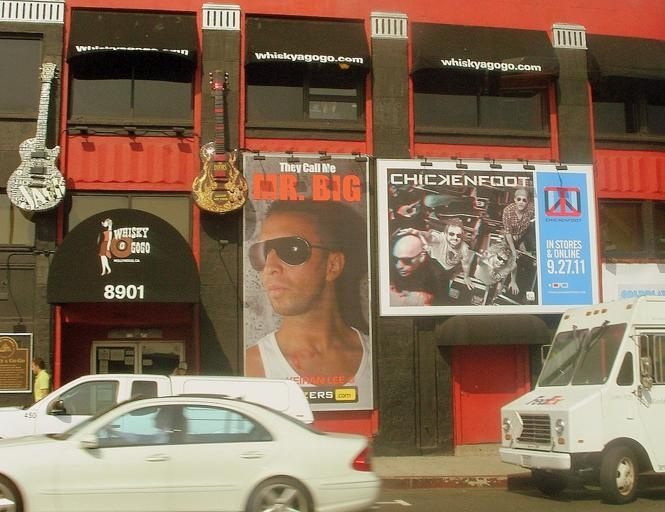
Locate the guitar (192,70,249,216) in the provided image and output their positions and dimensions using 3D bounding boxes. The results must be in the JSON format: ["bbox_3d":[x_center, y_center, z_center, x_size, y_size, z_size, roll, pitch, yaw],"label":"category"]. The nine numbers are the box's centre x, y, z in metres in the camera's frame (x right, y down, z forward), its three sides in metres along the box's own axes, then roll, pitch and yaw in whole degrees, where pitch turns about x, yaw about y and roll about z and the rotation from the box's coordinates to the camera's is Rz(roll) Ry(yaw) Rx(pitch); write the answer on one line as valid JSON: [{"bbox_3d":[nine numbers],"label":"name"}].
[{"bbox_3d":[-2.769,-2.811,26.746,1.320,3.560,0.517,-1,-5,-6],"label":"guitar"}]

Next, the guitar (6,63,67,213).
[{"bbox_3d":[-7.080,-2.898,26.198,1.250,3.607,0.309,0,-5,-17],"label":"guitar"}]
